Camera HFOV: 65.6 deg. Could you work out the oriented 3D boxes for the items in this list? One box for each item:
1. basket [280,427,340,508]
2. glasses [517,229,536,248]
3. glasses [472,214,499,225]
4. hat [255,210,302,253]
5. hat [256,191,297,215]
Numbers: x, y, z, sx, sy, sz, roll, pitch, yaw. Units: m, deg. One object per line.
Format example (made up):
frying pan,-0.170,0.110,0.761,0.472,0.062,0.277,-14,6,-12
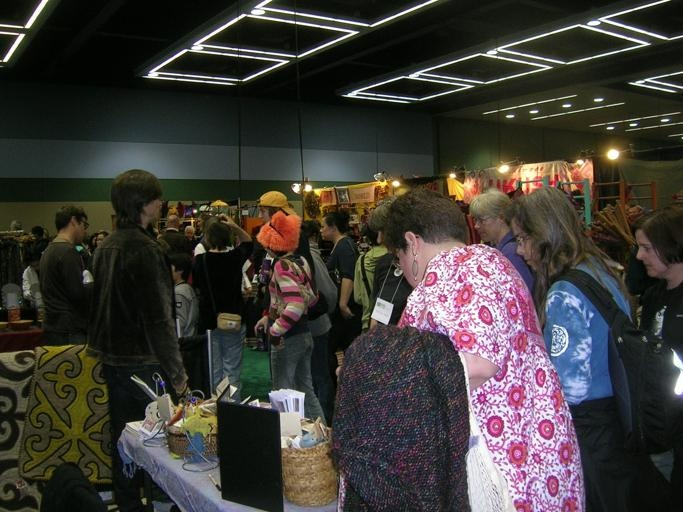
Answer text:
basket,-0.121,0.822,2.097,0.195,0.232,0.217,-6,-3,-2
glasses,0.809,-0.082,2.366,0.050,0.062,0.031,-6,-1,-19
glasses,1.004,-0.252,3.679,0.091,0.033,0.097,7,-6,-23
hat,-0.465,-0.166,3.934,0.302,0.294,0.229,-10,-9,31
hat,-0.556,-0.486,4.659,0.301,0.188,0.227,4,9,-18
